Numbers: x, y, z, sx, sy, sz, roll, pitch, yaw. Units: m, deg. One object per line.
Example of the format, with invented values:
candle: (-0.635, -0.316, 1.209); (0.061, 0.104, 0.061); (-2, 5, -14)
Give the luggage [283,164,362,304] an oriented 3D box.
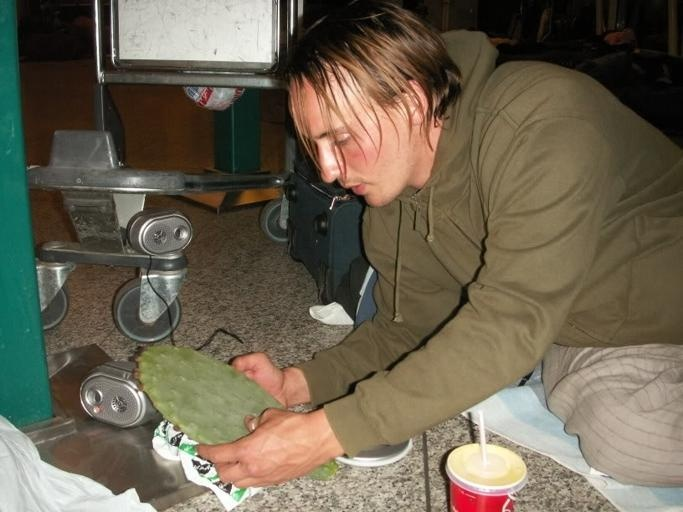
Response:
luggage: (-0.064, -0.125, 2.219); (0.227, 0.395, 0.487); (-8, 26, -24)
